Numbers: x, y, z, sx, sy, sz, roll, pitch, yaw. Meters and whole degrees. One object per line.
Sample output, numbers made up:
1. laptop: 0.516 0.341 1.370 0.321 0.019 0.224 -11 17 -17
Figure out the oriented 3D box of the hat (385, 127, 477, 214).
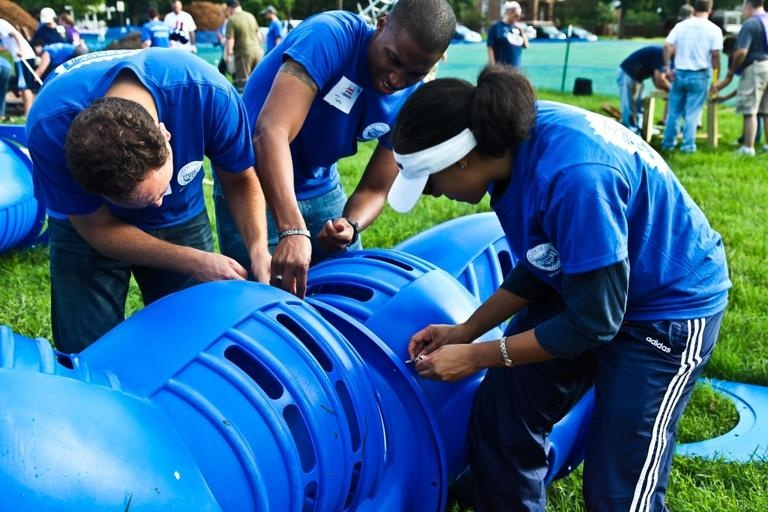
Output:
1. hat: 0.159 -0.336 3.295 0.428 0.397 0.173 17 25 42
